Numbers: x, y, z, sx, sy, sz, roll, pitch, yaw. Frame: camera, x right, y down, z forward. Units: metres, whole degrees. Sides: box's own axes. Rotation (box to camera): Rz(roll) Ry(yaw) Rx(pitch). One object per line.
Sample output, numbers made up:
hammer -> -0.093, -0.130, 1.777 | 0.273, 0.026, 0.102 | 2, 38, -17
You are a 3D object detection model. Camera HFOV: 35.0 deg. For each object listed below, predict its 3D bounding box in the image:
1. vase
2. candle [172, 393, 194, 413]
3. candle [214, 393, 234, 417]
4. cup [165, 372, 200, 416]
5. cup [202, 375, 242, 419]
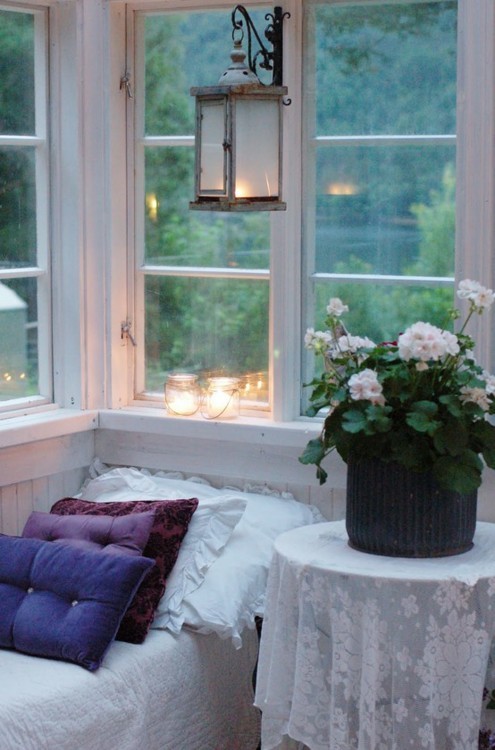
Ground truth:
vase -> 0.326, 0.259, 1.567 | 0.215, 0.154, 0.210 | 4, -5, -24
candle -> -0.203, 0.092, 2.558 | 0.063, 0.048, 0.065 | 0, 4, -11
candle -> -0.067, 0.099, 2.480 | 0.070, 0.077, 0.074 | 0, -2, 19
cup -> -0.209, 0.072, 2.627 | 0.120, 0.127, 0.125 | 0, -1, 0
cup -> -0.077, 0.074, 2.549 | 0.121, 0.121, 0.130 | 0, 1, 0
